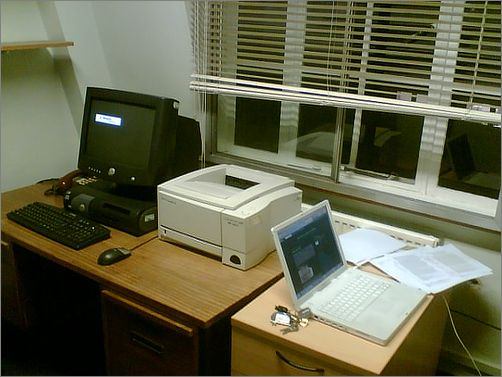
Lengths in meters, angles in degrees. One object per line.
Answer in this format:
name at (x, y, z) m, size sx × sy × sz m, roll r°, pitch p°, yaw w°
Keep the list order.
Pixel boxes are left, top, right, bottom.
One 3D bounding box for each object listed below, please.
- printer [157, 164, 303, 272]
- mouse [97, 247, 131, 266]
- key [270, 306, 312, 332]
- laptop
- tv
printer at (-0.081, 0.094, 1.988) m, size 0.594 × 0.293 × 0.540 m, roll 15°, pitch 24°, yaw 35°
mouse at (-0.677, 0.323, 1.908) m, size 0.072 × 0.041 × 0.118 m, roll 19°, pitch 23°, yaw 28°
key at (0.157, 0.503, 1.536) m, size 0.159 × 0.055 × 0.087 m, roll 3°, pitch 24°, yaw 6°
laptop at (0.398, 0.297, 1.599) m, size 0.493 × 0.345 × 0.451 m, roll 6°, pitch 15°, yaw 43°
tv at (-0.604, -0.319, 2.375) m, size 0.614 × 0.486 × 0.627 m, roll 12°, pitch 18°, yaw 32°
